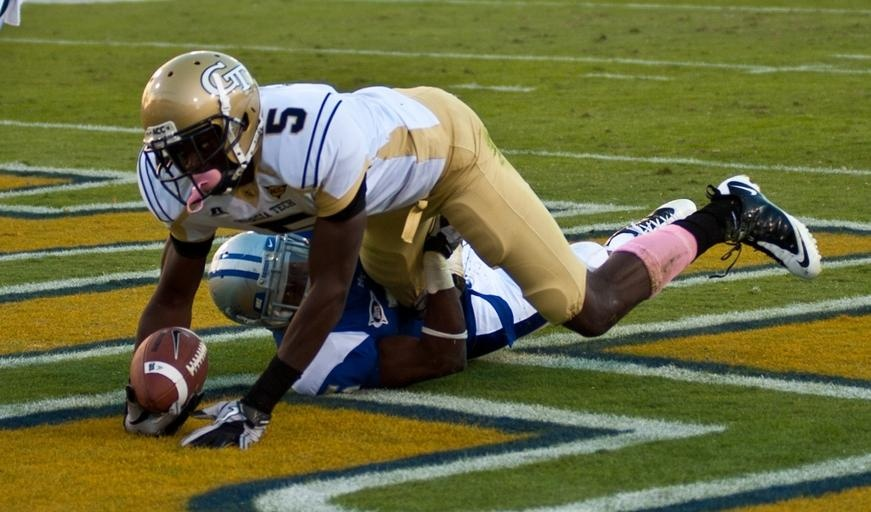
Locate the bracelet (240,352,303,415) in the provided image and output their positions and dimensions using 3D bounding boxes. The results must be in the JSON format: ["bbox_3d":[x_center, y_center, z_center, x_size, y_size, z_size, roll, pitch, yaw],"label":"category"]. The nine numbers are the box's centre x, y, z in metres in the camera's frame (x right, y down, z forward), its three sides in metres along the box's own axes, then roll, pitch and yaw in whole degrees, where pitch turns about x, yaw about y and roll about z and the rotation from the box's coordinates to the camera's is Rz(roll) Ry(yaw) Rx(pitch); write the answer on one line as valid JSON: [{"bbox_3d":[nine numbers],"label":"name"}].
[{"bbox_3d":[-0.748,0.580,5.920,0.209,0.320,0.097,41,13,-5],"label":"bracelet"}]

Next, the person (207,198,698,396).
[{"bbox_3d":[0.213,0.116,6.635,2.667,0.685,1.047,-8,25,-6],"label":"person"}]

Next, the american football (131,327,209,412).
[{"bbox_3d":[-1.220,0.515,5.900,0.319,0.389,0.281,1,1,-1],"label":"american football"}]
